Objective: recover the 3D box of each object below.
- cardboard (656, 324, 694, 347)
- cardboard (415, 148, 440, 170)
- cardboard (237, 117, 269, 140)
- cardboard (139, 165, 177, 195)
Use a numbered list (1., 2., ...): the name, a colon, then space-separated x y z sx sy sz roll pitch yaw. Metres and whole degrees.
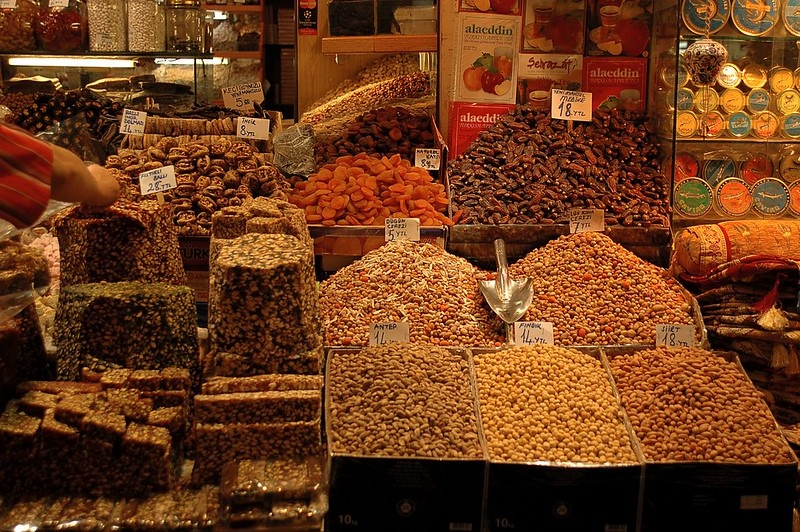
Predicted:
1. cardboard: 1.446 0.366 3.398 0.186 0.043 0.120 0 93 -5
2. cardboard: 0.183 -0.717 4.260 0.152 0.020 0.131 -2 96 -7
3. cardboard: -1.007 -0.938 4.343 0.164 0.021 0.114 2 101 0
4. cardboard: -1.469 -0.517 3.862 0.190 0.026 0.136 -7 81 8
